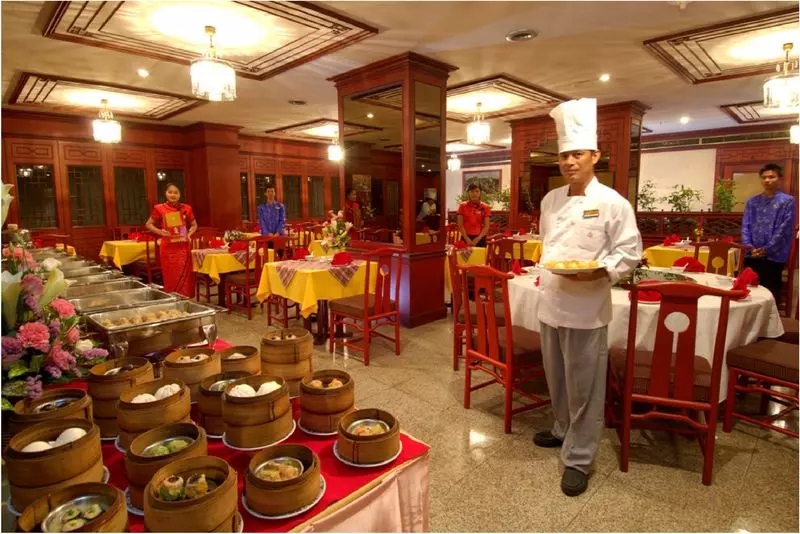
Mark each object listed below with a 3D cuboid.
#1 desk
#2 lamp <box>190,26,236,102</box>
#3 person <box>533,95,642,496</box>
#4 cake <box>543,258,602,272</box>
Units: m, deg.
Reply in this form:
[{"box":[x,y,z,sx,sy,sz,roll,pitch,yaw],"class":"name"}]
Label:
[{"box":[-0.968,0.642,2.516,1.666,0.584,1.274,-7,13,-31],"class":"desk"},{"box":[-1.894,-2.014,5.184,0.407,0.704,0.407,-4,9,-18],"class":"lamp"},{"box":[1.131,0.171,3.361,0.593,2.481,0.594,-5,10,-24],"class":"person"},{"box":[1.025,-0.001,3.157,0.276,0.054,0.307,-4,8,-29],"class":"cake"}]
